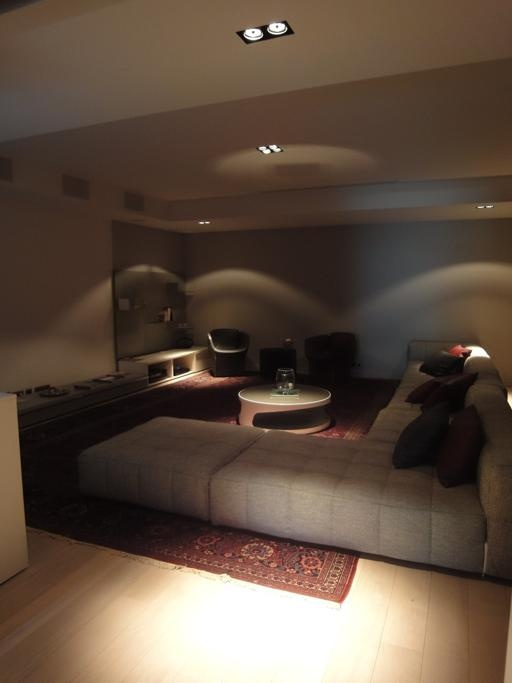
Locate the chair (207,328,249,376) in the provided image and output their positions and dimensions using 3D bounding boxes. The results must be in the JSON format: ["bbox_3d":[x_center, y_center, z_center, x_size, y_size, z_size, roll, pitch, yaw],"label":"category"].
[{"bbox_3d":[-0.269,0.140,6.614,0.552,0.630,0.587,0,-2,-8],"label":"chair"}]

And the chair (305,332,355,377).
[{"bbox_3d":[0.826,0.157,6.050,0.498,0.506,0.579,-1,-1,30],"label":"chair"}]
